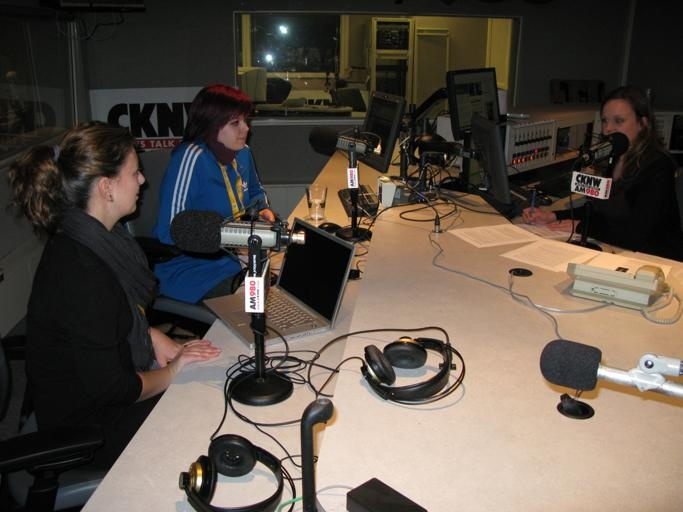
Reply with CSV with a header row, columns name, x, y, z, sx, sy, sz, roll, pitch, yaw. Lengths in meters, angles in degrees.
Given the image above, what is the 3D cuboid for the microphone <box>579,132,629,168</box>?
name,x,y,z,sx,sy,sz,roll,pitch,yaw
microphone,1.185,-0.473,2.275,0.216,0.091,0.150,-27,23,-26

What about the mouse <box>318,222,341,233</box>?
name,x,y,z,sx,sy,sz,roll,pitch,yaw
mouse,-0.057,-0.155,2.756,0.085,0.022,0.080,1,19,-2

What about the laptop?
name,x,y,z,sx,sy,sz,roll,pitch,yaw
laptop,-0.219,0.126,2.005,0.518,0.348,0.572,-12,25,-13
